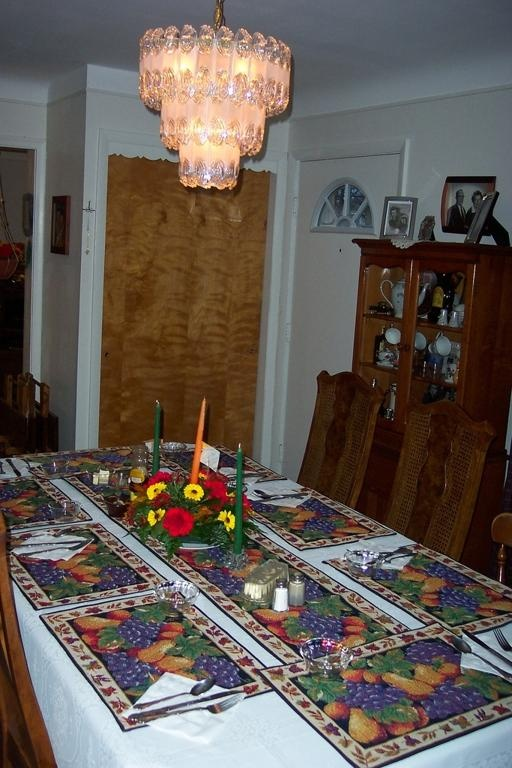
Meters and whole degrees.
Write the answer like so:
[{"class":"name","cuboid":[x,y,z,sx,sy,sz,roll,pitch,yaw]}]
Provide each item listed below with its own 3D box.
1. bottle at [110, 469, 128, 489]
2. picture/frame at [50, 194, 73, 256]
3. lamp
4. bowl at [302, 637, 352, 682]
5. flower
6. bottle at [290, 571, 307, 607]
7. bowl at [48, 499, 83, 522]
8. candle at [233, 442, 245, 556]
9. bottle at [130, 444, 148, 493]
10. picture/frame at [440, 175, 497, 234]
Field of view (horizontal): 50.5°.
[{"class":"bottle","cuboid":[-0.531,0.359,2.060,0.063,0.069,0.064,-2,-4,27]},{"class":"picture/frame","cuboid":[-1.567,-1.279,4.367,0.069,0.697,0.505,0,6,-32]},{"class":"lamp","cuboid":[-0.116,-0.844,1.668,0.394,0.421,0.269,5,2,9]},{"class":"bowl","cuboid":[0.128,0.506,1.011,0.109,0.030,0.087,3,2,-45]},{"class":"flower","cuboid":[-0.250,0.339,1.615,0.305,0.125,0.309,-1,-5,-44]},{"class":"bottle","cuboid":[0.088,0.496,1.307,0.053,0.075,0.051,0,1,0]},{"class":"bowl","cuboid":[-0.622,0.400,1.728,0.071,0.037,0.072,4,9,-1]},{"class":"candle","cuboid":[-0.050,0.303,1.430,0.048,0.296,0.044,0,2,-2]},{"class":"bottle","cuboid":[-0.432,0.316,2.001,0.073,0.198,0.076,1,11,0]},{"class":"picture/frame","cuboid":[1.150,-0.962,2.917,0.050,0.371,0.359,5,11,-29]}]
